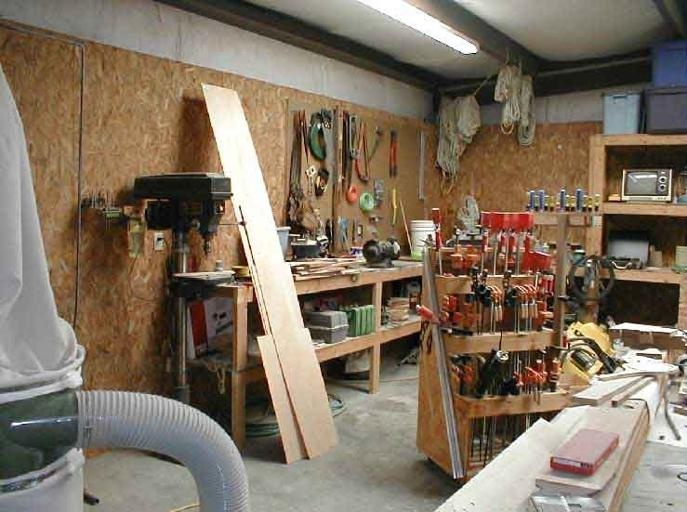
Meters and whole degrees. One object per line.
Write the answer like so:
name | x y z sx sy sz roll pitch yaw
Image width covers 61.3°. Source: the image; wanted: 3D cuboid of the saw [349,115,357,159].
saw | 0.123 -1.280 6.250 0.076 0.454 0.153 7 10 29

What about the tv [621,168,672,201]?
tv | 3.349 -0.778 6.378 0.565 0.431 0.344 1 -1 26

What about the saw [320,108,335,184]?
saw | -0.159 -1.125 5.997 0.069 0.743 0.209 8 11 36

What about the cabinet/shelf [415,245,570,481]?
cabinet/shelf | 1.019 0.747 5.181 1.390 2.659 1.363 -1 -2 7

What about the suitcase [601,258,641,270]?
suitcase | 3.183 0.089 6.559 0.361 0.102 0.368 5 9 21

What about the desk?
desk | -0.576 0.716 5.356 0.641 1.140 3.315 6 7 32

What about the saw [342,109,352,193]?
saw | 0.037 -1.139 6.244 0.108 0.807 0.127 2 9 4

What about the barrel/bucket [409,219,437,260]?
barrel/bucket | 0.973 -0.181 7.093 0.307 0.450 0.317 7 -1 0
